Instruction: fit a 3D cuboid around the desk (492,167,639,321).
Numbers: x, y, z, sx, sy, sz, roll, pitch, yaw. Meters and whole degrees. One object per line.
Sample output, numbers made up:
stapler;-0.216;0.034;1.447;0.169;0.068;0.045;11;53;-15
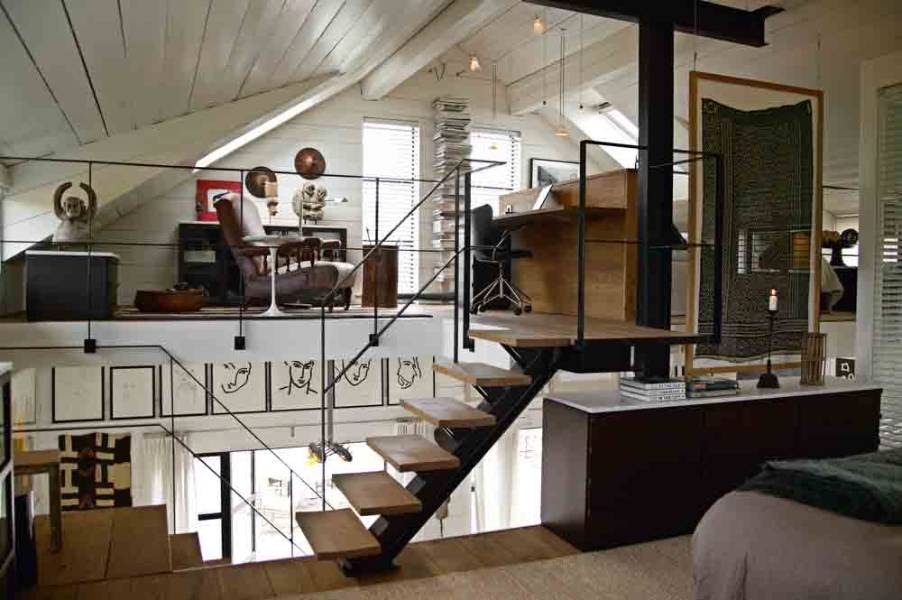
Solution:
desk;0.905;-0.550;7.292;0.845;1.333;2.141;1;3;-27

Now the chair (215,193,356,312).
chair;-1.678;-0.494;7.546;1.105;1.231;1.358;4;7;44

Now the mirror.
mirror;2.766;-0.668;6.304;1.349;2.612;0.221;-2;5;-15

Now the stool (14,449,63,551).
stool;-3.021;1.475;5.189;0.280;0.746;0.625;-3;5;-31
